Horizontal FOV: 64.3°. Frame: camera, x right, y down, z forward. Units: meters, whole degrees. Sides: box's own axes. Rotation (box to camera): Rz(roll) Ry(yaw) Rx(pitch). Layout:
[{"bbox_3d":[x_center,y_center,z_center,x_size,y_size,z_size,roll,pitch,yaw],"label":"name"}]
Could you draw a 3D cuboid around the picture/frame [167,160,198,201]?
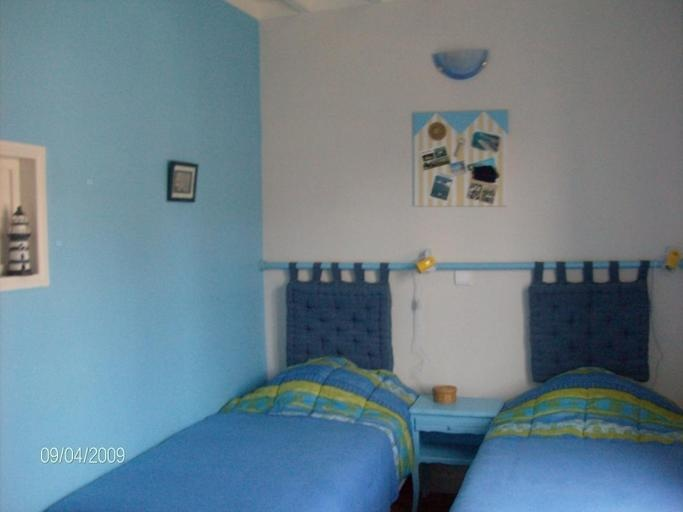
[{"bbox_3d":[-0.875,-0.405,2.981,0.024,0.211,0.217,9,8,22],"label":"picture/frame"}]
